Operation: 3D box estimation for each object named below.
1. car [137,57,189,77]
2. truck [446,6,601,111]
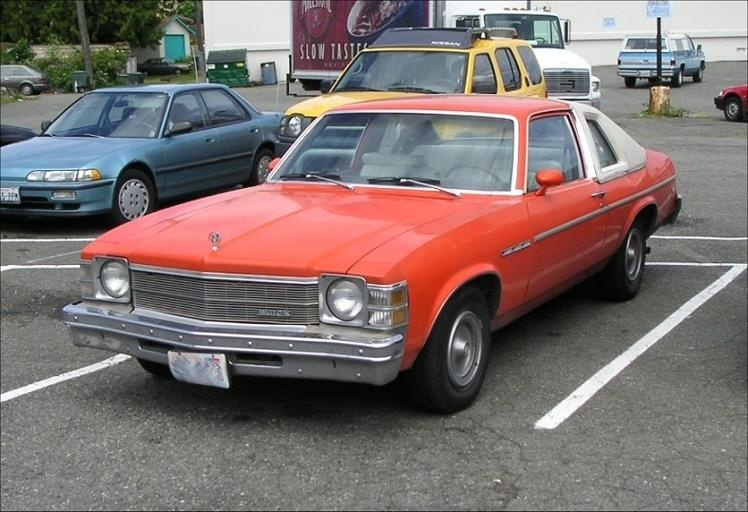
[{"bbox_3d":[-22.234,-19.862,60.595,4.881,1.758,2.208,0,17,7],"label":"car"},{"bbox_3d":[5.088,-6.446,18.681,3.177,2.901,5.304,-4,15,7],"label":"truck"}]
